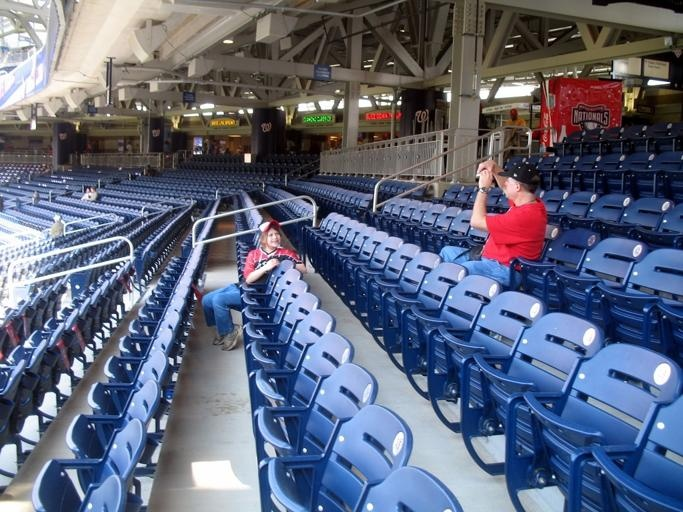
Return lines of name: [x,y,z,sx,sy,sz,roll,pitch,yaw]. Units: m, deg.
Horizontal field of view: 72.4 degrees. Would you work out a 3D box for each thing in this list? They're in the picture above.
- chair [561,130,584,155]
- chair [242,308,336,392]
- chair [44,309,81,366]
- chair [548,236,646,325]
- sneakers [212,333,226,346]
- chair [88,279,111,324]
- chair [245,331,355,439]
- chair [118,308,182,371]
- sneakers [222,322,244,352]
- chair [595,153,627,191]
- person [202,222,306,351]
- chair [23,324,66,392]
chair: [4.600,-2.259,9.345,0.377,0.477,1.540,4,12,26]
chair: [-0.339,0.552,3.126,0.564,0.723,0.436,6,9,-18]
chair: [-2.500,0.743,4.205,0.226,0.297,0.434,17,20,-11]
chair: [1.864,0.136,3.575,0.717,0.610,0.491,-5,15,-29]
sneakers: [-1.211,0.822,4.625,0.075,0.076,0.177,1,-3,-2]
chair: [-2.595,0.515,5.089,0.204,0.239,0.670,6,-36,-17]
chair: [-0.217,0.622,2.714,0.595,0.765,0.428,9,17,-22]
chair: [-1.535,0.674,3.777,0.399,0.511,0.389,3,19,-1]
sneakers: [-1.057,0.797,4.557,0.135,0.287,0.101,26,-10,-32]
chair: [3.855,-1.208,6.724,0.363,0.518,1.823,4,12,29]
person: [-0.904,0.288,4.886,0.993,1.340,0.615,4,-2,-10]
chair: [-2.411,0.846,3.814,0.318,0.459,0.343,14,39,-18]
